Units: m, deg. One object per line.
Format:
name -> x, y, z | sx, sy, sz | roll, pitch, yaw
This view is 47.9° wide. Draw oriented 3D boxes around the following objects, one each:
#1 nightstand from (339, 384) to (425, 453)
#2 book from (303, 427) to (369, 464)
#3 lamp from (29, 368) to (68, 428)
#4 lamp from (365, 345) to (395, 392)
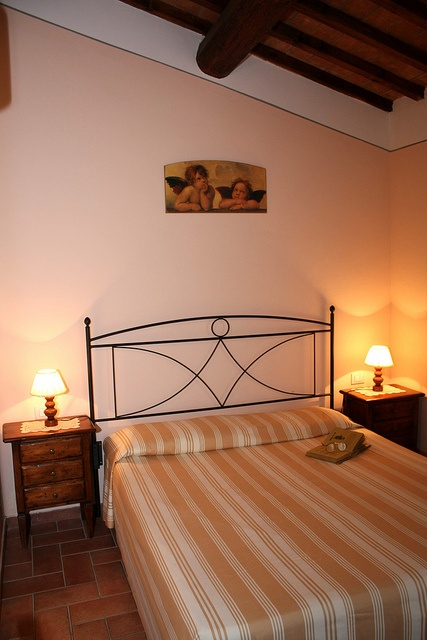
nightstand -> 1.234, 0.612, 3.570 | 0.544, 0.635, 0.430 | -6, 12, -30
book -> 0.671, 0.674, 2.598 | 0.165, 0.064, 0.220 | -11, 2, -34
lamp -> -0.891, 0.431, 2.607 | 0.212, 0.283, 0.209 | -4, -1, -32
lamp -> 1.196, 0.364, 3.501 | 0.204, 0.317, 0.196 | 2, 2, 16
